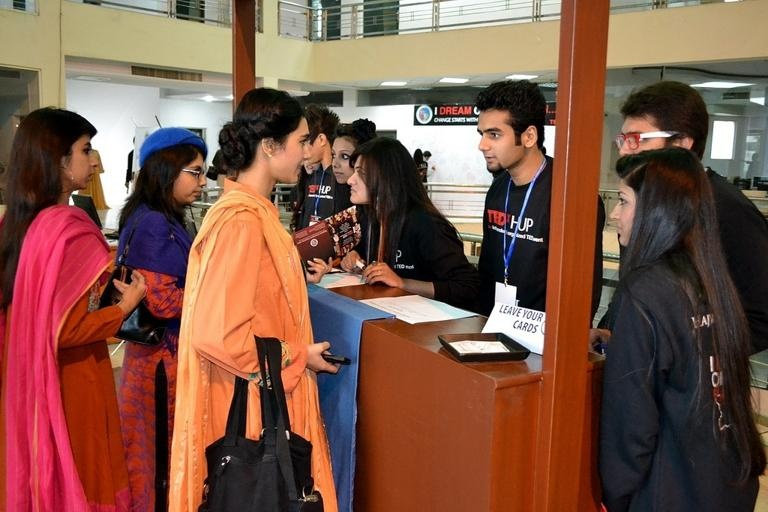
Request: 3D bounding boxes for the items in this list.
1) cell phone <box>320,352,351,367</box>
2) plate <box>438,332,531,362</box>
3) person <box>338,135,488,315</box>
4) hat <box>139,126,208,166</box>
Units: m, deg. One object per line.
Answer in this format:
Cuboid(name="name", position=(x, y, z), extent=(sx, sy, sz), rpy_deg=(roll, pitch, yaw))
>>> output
Cuboid(name="cell phone", position=(-0.194, 0.393, 2.140), extent=(0.148, 0.045, 0.041), rpy_deg=(6, 6, 39))
Cuboid(name="plate", position=(0.342, 0.305, 1.915), extent=(0.286, 0.064, 0.165), rpy_deg=(0, 7, -11))
Cuboid(name="person", position=(0.139, -0.065, 3.115), extent=(0.598, 1.112, 0.825), rpy_deg=(-19, 22, -41))
Cuboid(name="hat", position=(-1.114, -0.597, 2.971), extent=(0.266, 0.171, 0.269), rpy_deg=(0, 4, -2))
